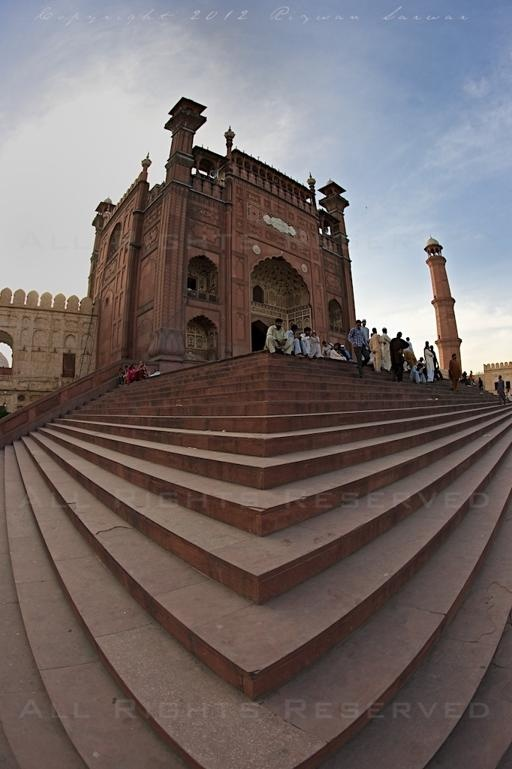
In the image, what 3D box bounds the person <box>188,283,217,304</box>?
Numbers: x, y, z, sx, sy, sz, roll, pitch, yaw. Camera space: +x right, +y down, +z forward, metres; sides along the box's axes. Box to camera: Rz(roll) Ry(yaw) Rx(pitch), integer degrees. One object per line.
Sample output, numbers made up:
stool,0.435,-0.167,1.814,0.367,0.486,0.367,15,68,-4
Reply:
person,-1.749,-3.422,14.917,0.434,0.524,1.518,-1,7,36
